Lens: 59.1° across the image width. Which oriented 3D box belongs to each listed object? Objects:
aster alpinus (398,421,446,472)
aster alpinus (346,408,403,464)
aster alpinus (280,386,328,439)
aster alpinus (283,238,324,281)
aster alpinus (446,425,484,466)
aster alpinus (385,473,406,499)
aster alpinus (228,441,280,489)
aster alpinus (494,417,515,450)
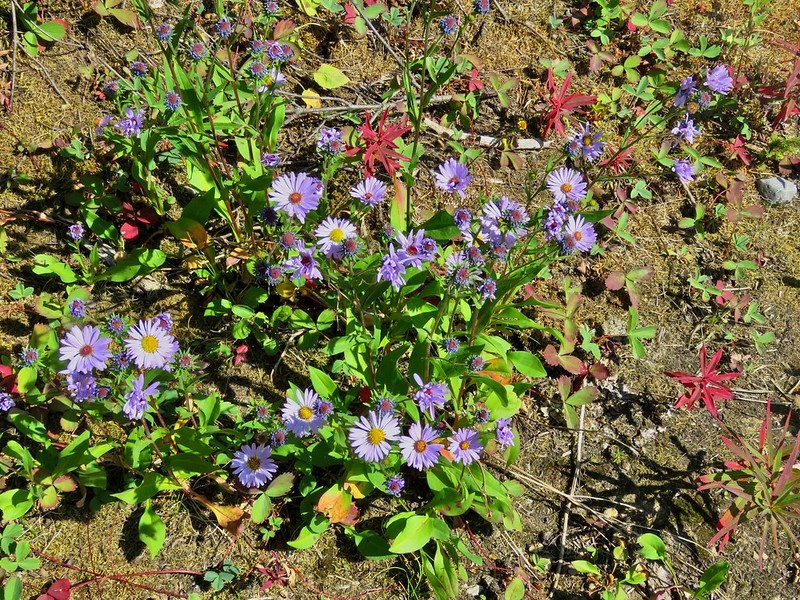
[{"bbox_3d":[0.114,0.844,4.060,0.249,0.080,0.291,21,44,16],"label":"aster alpinus"},{"bbox_3d":[-0.134,0.758,4.048,0.289,0.349,0.085,29,116,15],"label":"aster alpinus"},{"bbox_3d":[-0.579,0.677,4.269,0.259,0.144,0.277,-18,83,-8],"label":"aster alpinus"},{"bbox_3d":[-0.578,-0.223,4.136,0.203,0.286,0.275,-12,81,-6],"label":"aster alpinus"},{"bbox_3d":[0.381,0.868,4.176,0.184,0.254,0.214,0,80,-4],"label":"aster alpinus"},{"bbox_3d":[-0.034,1.121,4.281,0.102,0.152,0.118,31,80,2],"label":"aster alpinus"},{"bbox_3d":[-0.866,0.985,4.229,0.253,0.109,0.240,9,80,-4],"label":"aster alpinus"},{"bbox_3d":[0.634,0.808,4.273,0.159,0.356,0.173,-2,80,-4],"label":"aster alpinus"}]
